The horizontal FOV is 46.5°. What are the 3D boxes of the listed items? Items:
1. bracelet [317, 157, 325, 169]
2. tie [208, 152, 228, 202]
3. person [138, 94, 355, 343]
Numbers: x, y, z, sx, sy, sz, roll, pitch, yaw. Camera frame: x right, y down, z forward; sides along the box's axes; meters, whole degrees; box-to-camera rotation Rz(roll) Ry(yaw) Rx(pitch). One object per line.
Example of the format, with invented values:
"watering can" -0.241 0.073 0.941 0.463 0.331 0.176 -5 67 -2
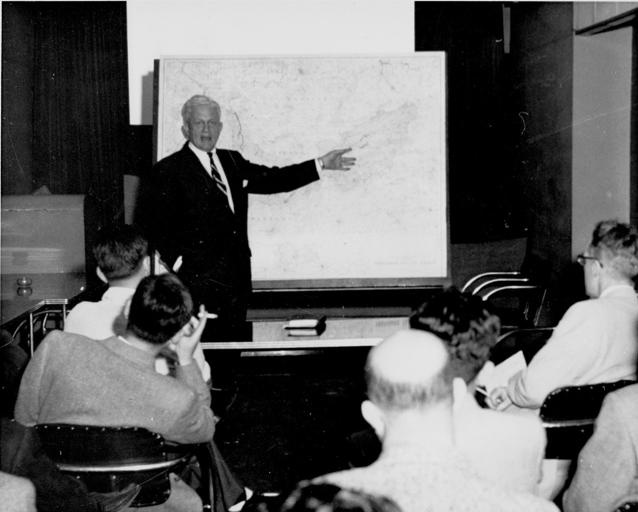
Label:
"bracelet" 0.010 -0.551 4.404 0.012 0.054 0.051 -9 -5 -15
"tie" -0.608 -0.479 4.410 0.051 0.410 0.046 -12 7 6
"person" -0.403 -0.257 4.226 1.212 1.876 0.532 -2 2 -20
